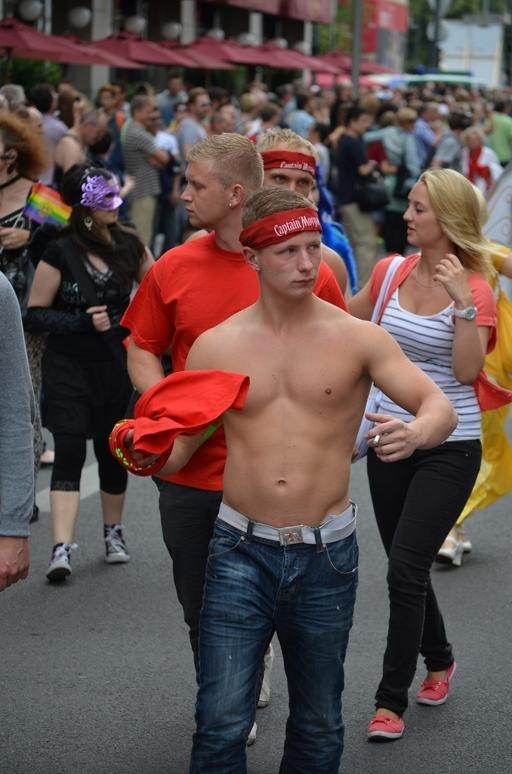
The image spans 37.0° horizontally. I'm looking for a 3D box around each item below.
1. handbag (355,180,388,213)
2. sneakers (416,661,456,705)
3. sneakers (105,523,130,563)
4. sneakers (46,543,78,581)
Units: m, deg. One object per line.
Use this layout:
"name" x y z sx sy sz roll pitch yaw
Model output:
"handbag" 1.773 -2.986 11.940 0.615 0.481 0.301 -3 8 -6
"sneakers" 0.693 1.157 2.965 0.083 0.060 0.205 -7 18 31
"sneakers" -0.828 0.935 4.491 0.119 0.144 0.277 -2 -3 -11
"sneakers" -1.064 0.958 4.150 0.154 0.224 0.165 -1 6 -15
